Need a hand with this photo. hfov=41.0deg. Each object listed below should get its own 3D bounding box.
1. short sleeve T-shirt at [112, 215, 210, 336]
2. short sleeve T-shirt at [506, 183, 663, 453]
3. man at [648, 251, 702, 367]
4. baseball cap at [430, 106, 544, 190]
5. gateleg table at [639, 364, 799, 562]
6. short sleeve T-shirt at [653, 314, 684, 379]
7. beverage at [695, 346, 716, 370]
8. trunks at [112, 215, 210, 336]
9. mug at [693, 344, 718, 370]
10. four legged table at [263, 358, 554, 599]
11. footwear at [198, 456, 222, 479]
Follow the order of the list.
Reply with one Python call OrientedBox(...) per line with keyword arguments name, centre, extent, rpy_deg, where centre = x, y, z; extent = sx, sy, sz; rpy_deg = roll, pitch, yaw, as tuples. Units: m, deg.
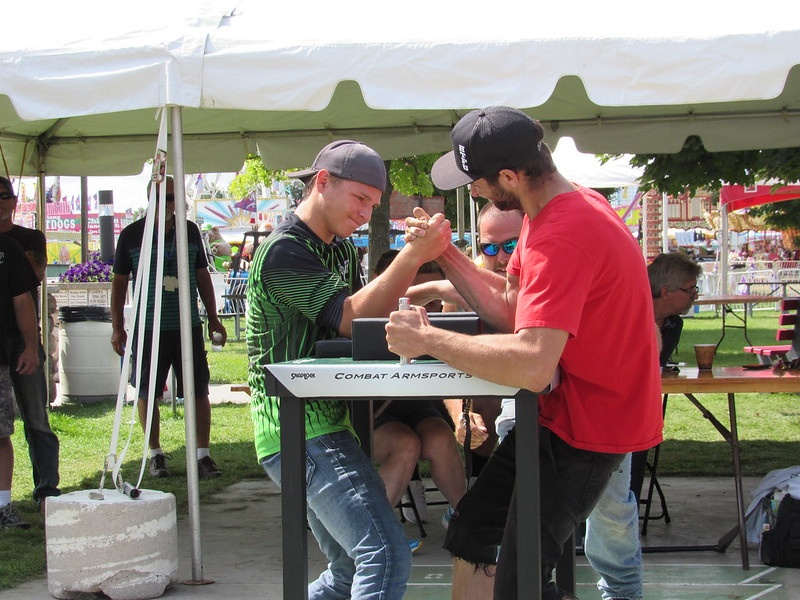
OrientedBox(name="short sleeve T-shirt", centre=(-1.999, -0.265, 8.984), extent=(0.855, 0.945, 0.533), rpy_deg=(-4, 12, -23))
OrientedBox(name="short sleeve T-shirt", centre=(0.902, 0.115, 5.094), extent=(0.635, 1.262, 0.489), rpy_deg=(0, 2, 13))
OrientedBox(name="man", centre=(1.796, 0.122, 7.202), extent=(0.351, 0.882, 0.335), rpy_deg=(9, 20, 19))
OrientedBox(name="baseball cap", centre=(0.413, -0.812, 5.270), extent=(0.629, 0.267, 0.426), rpy_deg=(-12, 38, 21))
OrientedBox(name="gateleg table", centre=(2.118, 1.013, 7.187), extent=(1.504, 1.350, 1.101), rpy_deg=(-1, -5, -1))
OrientedBox(name="short sleeve T-shirt", centre=(1.794, 0.312, 7.164), extent=(0.278, 0.365, 0.131), rpy_deg=(-2, -18, 22))
OrientedBox(name="beverage", centre=(2.053, 0.393, 7.238), extent=(0.160, 0.165, 0.162), rpy_deg=(2, -2, 6))
OrientedBox(name="trunks", centre=(-1.997, -0.257, 8.989), extent=(0.830, 0.942, 0.533), rpy_deg=(-5, 11, -29))
OrientedBox(name="mug", centre=(2.086, 0.388, 7.247), extent=(0.170, 0.176, 0.170), rpy_deg=(2, -1, -4))
OrientedBox(name="four legged table", centre=(0.074, 0.834, 5.375), extent=(1.152, 1.083, 1.138), rpy_deg=(0, -3, 3))
OrientedBox(name="footwear", centre=(-1.576, 1.394, 8.838), extent=(0.123, 0.098, 0.234), rpy_deg=(2, -7, -38))
